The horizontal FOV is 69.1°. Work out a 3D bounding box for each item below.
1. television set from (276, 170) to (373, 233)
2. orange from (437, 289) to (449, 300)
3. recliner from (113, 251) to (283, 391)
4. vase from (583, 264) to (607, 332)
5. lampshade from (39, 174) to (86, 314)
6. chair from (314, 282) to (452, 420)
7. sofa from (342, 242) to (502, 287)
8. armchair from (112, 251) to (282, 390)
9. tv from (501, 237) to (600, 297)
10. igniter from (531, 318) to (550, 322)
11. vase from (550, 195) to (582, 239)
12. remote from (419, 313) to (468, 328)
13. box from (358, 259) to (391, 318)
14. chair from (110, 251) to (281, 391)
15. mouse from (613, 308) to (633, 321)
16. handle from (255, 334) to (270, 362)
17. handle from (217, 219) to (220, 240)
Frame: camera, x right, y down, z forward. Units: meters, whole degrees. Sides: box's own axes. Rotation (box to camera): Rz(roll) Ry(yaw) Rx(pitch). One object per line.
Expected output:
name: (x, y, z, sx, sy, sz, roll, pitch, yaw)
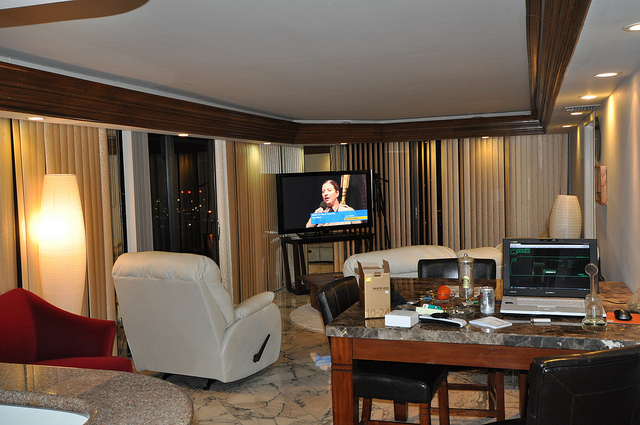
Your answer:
television set: (0.101, -0.208, 8.622, 1.786, 1.095, 0.200, -2, 4, -13)
orange: (0.909, 0.602, 3.415, 0.077, 0.069, 0.080, -7, -7, 41)
recliner: (-1.312, 1.087, 5.228, 1.548, 1.398, 1.535, -1, -3, 28)
vase: (1.774, 0.538, 2.982, 0.131, 0.364, 0.383, 0, 4, 30)
lampshade: (-2.730, 0.343, 4.981, 0.374, 1.483, 0.432, 12, 8, 41)
chair: (0.577, 0.916, 3.773, 1.164, 1.395, 1.053, -2, 2, 16)
sofa: (1.026, 0.726, 5.131, 1.342, 0.472, 0.460, -1, 12, 3)
armchair: (-1.295, 1.080, 5.264, 1.542, 1.415, 1.553, -1, -3, 28)
tv: (1.652, 0.421, 3.148, 0.719, 0.434, 0.410, 1, 8, -5)
igniter: (1.441, 0.698, 3.022, 0.131, 0.015, 0.067, -1, 2, 4)
vase: (3.354, 0.060, 6.334, 0.365, 0.571, 0.347, 0, 4, 25)
remote: (0.820, 0.714, 3.072, 0.188, 0.036, 0.099, 5, 1, 24)
box: (0.388, 0.539, 3.335, 0.265, 0.359, 0.220, 2, 5, 7)
chair: (-1.294, 1.111, 5.315, 1.582, 1.418, 1.619, -1, 1, 27)
mouse: (1.973, 0.656, 2.992, 0.128, 0.063, 0.070, -2, 3, -3)
handle: (-0.602, 1.447, 4.951, 0.095, 0.260, 0.034, 25, -1, -2)
handle: (-1.670, 0.281, 7.640, 0.027, 0.328, 0.041, -1, 4, 10)
